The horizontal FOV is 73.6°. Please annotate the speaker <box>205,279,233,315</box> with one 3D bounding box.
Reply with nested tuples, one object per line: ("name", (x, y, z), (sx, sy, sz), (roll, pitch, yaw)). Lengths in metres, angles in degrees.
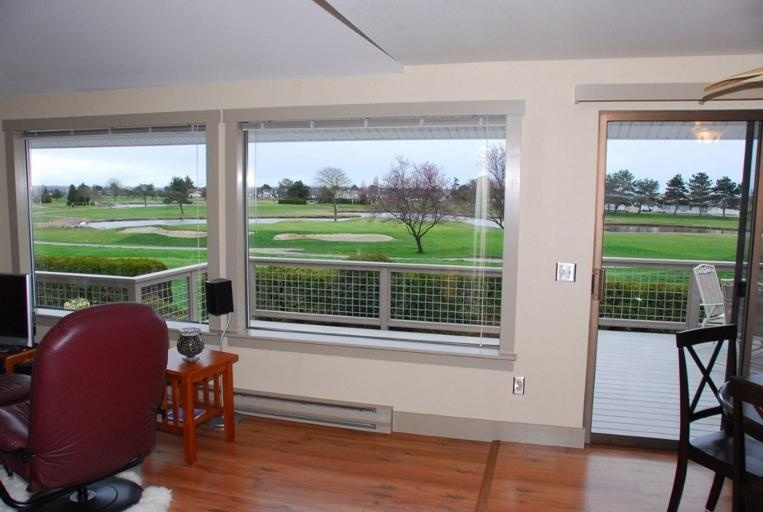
("speaker", (-1.313, 0.322, 4.091), (0.192, 0.317, 0.236), (-7, 18, -28))
